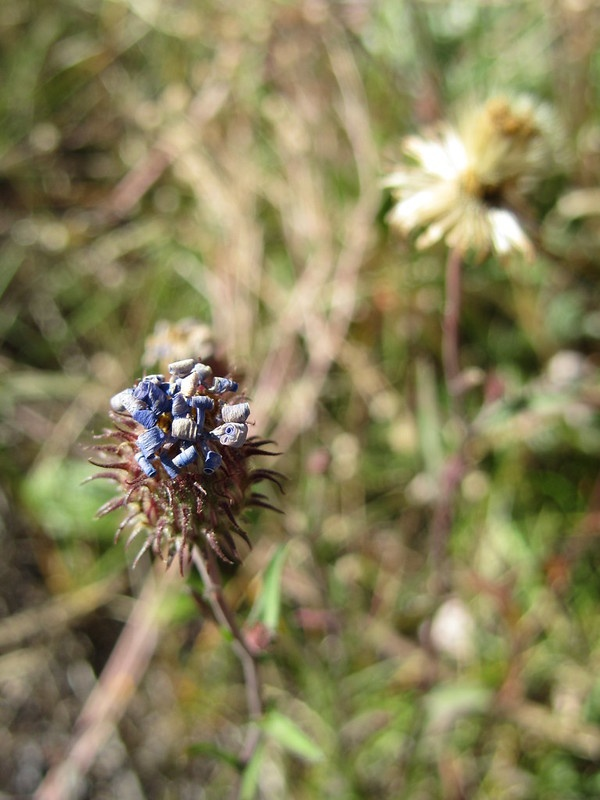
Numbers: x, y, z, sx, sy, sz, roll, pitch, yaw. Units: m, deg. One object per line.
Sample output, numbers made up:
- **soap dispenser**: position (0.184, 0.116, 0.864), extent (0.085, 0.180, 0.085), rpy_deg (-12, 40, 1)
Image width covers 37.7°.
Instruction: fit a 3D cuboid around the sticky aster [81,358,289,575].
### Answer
- **sticky aster**: position (-0.180, 0.102, 1.353), extent (0.285, 0.367, 0.316), rpy_deg (0, 22, -2)
